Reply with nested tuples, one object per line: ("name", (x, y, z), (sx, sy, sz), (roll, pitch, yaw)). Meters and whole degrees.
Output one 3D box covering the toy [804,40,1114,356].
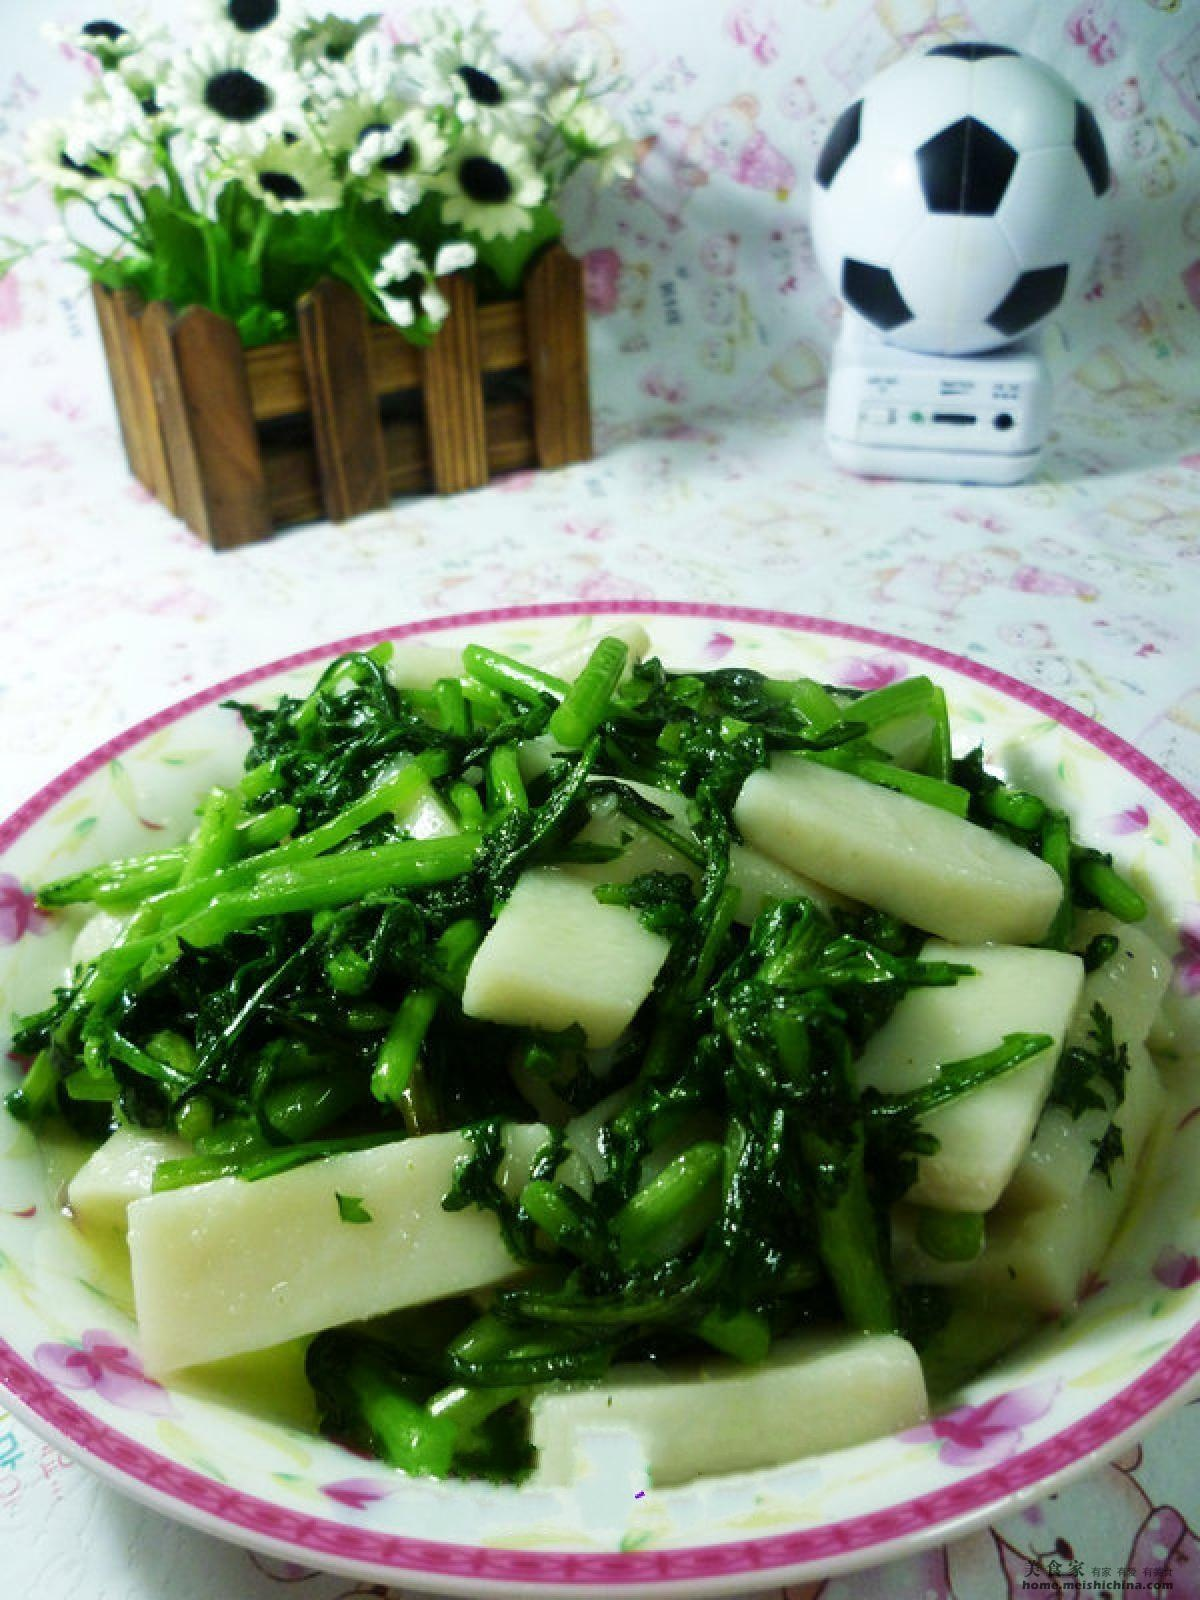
("toy", (0.612, -0.977, 2.434), (0.592, 0.518, 0.564), (4, 57, 14))
